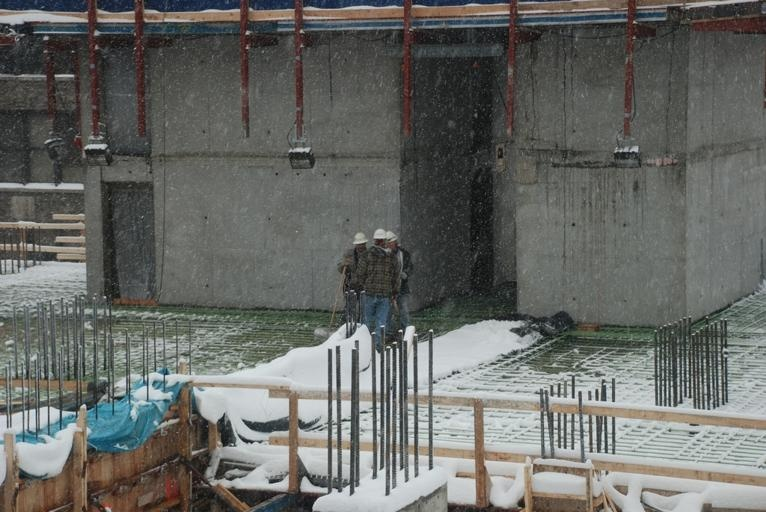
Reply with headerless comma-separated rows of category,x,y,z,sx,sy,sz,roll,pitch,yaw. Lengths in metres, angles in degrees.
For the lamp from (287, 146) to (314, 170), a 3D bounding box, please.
lamp,-1.747,-2.167,38.258,0.502,0.510,0.356,0,22,3
